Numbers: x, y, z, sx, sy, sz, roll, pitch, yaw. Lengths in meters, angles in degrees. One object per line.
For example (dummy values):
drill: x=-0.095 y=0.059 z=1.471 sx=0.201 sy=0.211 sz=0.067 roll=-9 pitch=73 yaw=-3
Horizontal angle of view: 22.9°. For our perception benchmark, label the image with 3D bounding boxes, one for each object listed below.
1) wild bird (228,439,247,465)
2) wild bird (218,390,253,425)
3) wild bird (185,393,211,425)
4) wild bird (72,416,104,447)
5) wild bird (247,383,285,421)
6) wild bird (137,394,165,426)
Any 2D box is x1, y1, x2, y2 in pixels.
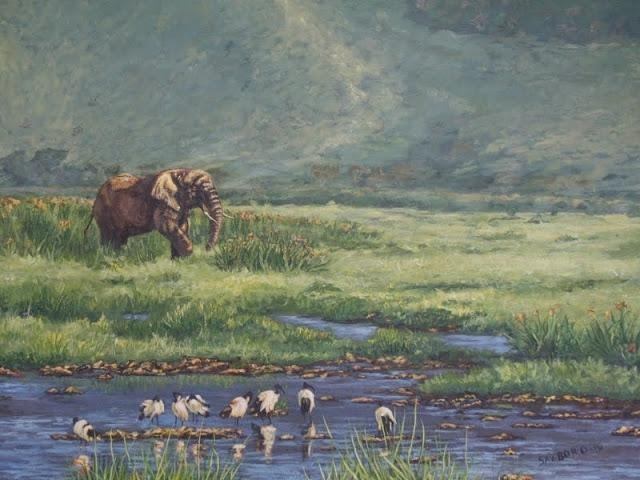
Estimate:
wild bird: x=-1.331 y=3.361 z=25.479 sx=0.263 sy=0.280 sz=0.174 roll=1 pitch=-4 yaw=-1
wild bird: x=-1.383 y=2.750 z=26.316 sx=0.584 sy=0.483 sz=0.264 roll=-8 pitch=14 yaw=-20
wild bird: x=-2.016 y=2.741 z=26.450 sx=0.538 sy=0.529 sz=0.276 roll=9 pitch=6 yaw=41
wild bird: x=-3.810 y=3.046 z=25.704 sx=0.466 sy=0.369 sz=0.770 roll=2 pitch=4 yaw=-17
wild bird: x=-0.903 y=2.677 z=26.903 sx=0.556 sy=0.547 sz=1.245 roll=3 pitch=4 yaw=-2
wild bird: x=-2.841 y=2.773 z=26.432 sx=0.438 sy=0.458 sz=0.489 roll=2 pitch=4 yaw=-7
